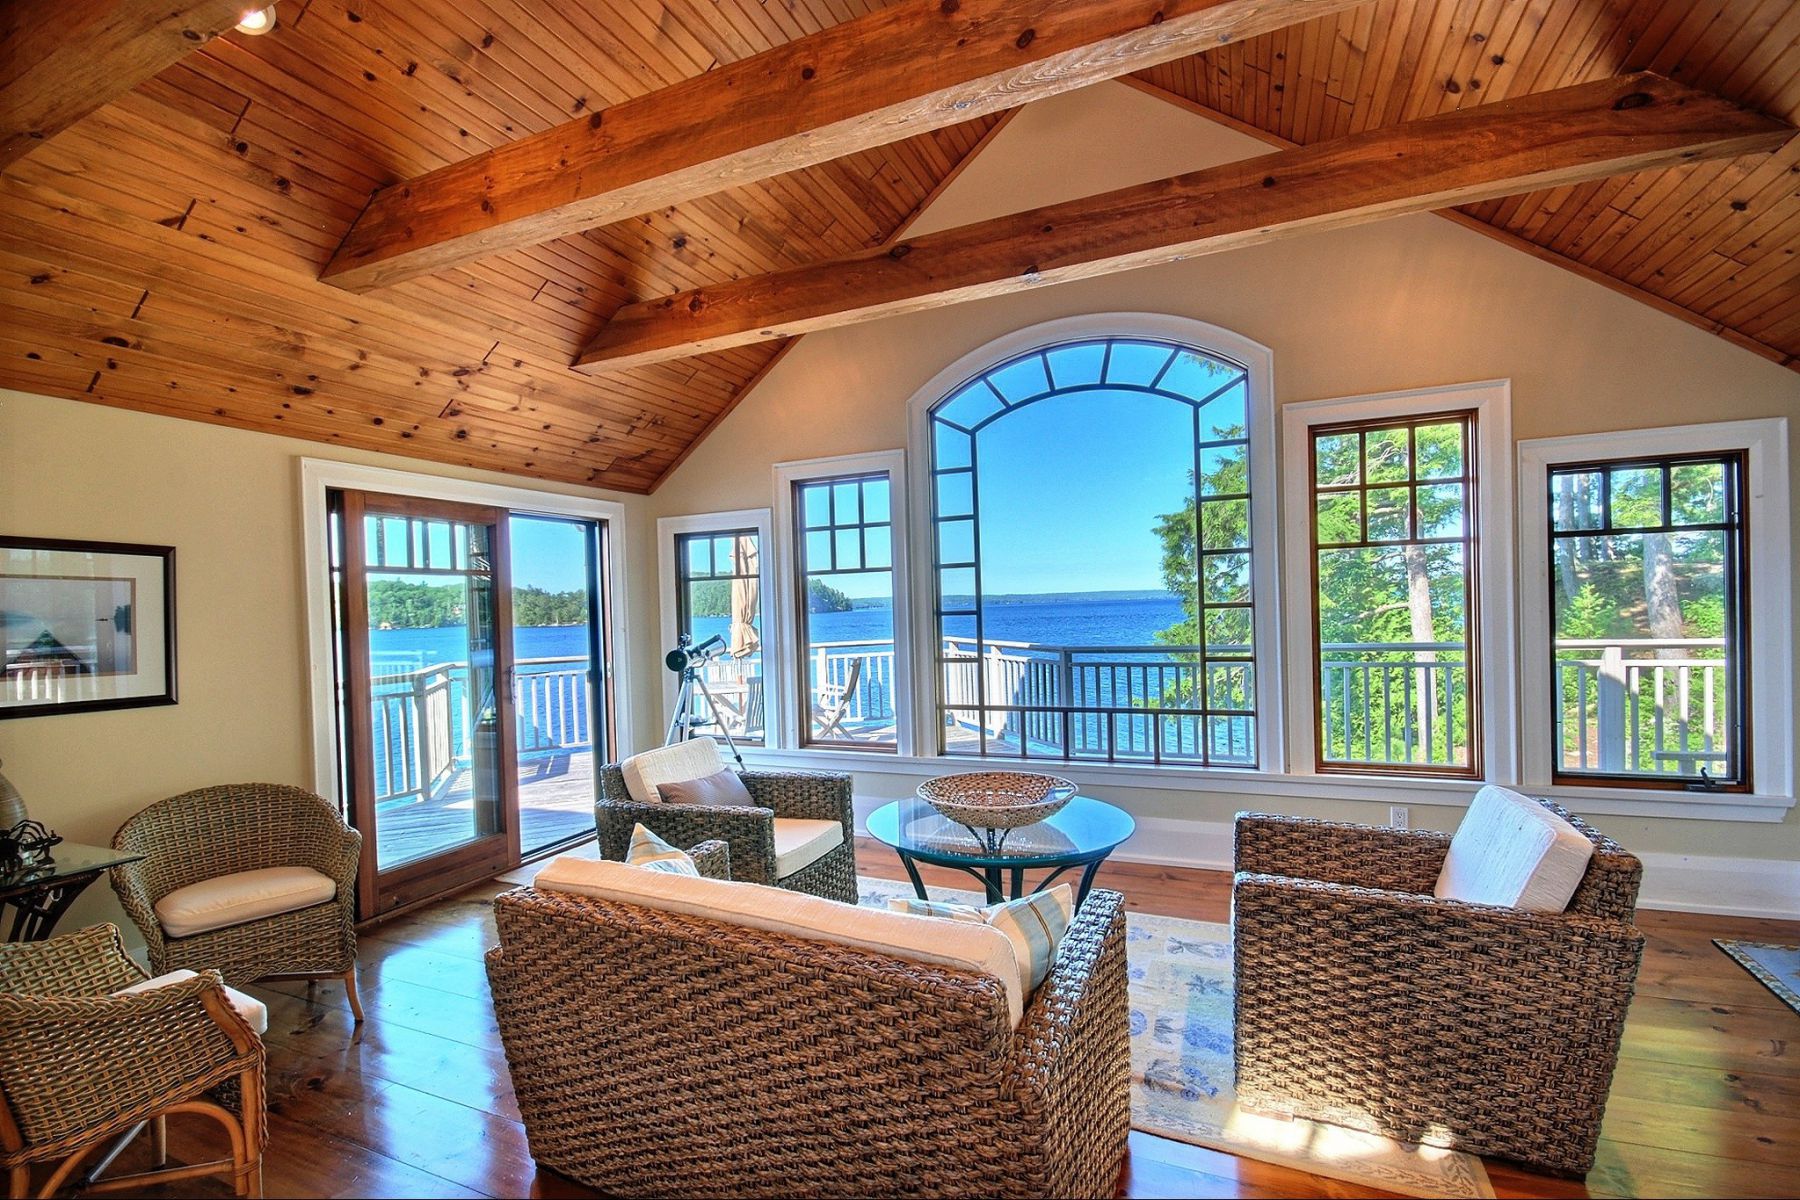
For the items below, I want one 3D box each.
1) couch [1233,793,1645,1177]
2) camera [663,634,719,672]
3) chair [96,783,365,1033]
[{"bbox_3d":[2.378,1.651,4.710,1.173,1.138,1.520,22,-22,-35],"label":"couch"},{"bbox_3d":[-1.278,0.326,7.156,0.173,0.187,0.486,-18,-10,14],"label":"camera"},{"bbox_3d":[-3.038,1.360,5.260,0.942,0.895,0.808,-4,5,-40],"label":"chair"}]
